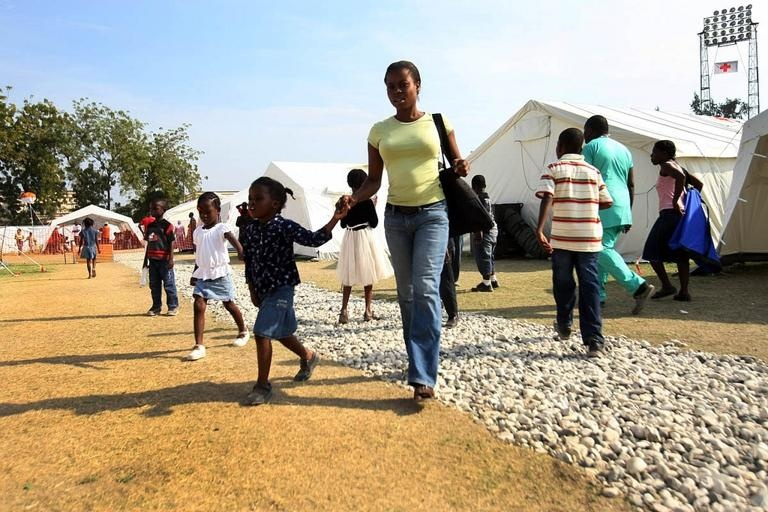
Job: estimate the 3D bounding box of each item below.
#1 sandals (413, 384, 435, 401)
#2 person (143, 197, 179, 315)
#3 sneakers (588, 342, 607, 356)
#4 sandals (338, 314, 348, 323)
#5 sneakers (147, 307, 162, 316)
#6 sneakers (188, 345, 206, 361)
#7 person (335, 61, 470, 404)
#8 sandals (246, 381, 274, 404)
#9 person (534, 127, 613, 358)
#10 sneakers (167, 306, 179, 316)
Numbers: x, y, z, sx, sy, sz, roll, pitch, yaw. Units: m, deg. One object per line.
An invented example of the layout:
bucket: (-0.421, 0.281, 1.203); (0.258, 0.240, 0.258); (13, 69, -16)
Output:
sandals: (0.327, 1.092, 3.711); (0.168, 0.183, 0.142); (-3, 11, 1)
person: (-3.604, -0.010, 7.324); (0.568, 1.789, 0.893); (-9, 12, -23)
sneakers: (2.050, 0.882, 4.421); (0.174, 0.125, 0.103); (-3, 10, 4)
sandals: (-0.543, 0.820, 6.160); (0.126, 0.108, 0.116); (2, 7, 10)
sneakers: (-3.622, 0.870, 7.255); (0.089, 0.084, 0.233); (-1, -12, 9)
sneakers: (-2.026, 1.021, 4.946); (0.192, 0.125, 0.196); (-7, 11, -23)
person: (0.133, -0.215, 3.831); (0.766, 2.739, 0.846); (-1, 11, 13)
sandals: (-1.043, 1.151, 3.871); (0.111, 0.096, 0.263); (-1, -6, 13)
person: (1.908, -0.184, 4.660); (0.689, 2.218, 0.877); (1, 12, 25)
sneakers: (-3.313, 0.853, 7.217); (0.091, 0.090, 0.212); (3, -7, 1)
